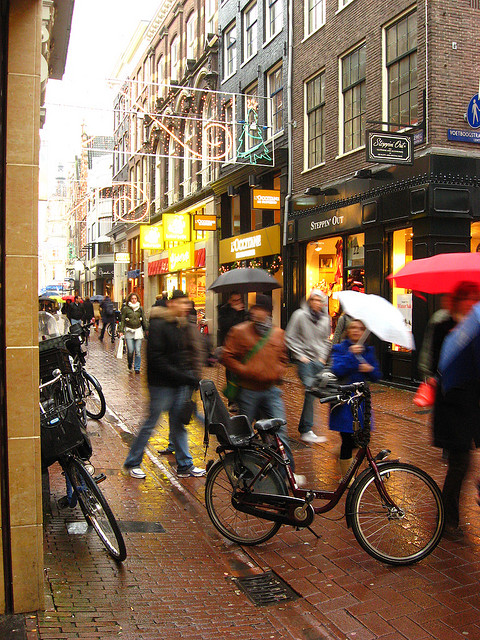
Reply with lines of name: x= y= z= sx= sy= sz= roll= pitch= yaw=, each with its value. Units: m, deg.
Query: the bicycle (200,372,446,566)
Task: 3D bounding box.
bicycle: x=0.586 y=1.000 z=4.266 sx=1.748 sy=1.218 sz=0.874 roll=-2 pitch=-3 yaw=22

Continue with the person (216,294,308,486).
person: x=0.154 y=0.587 z=4.852 sx=0.677 sy=1.515 sz=0.577 roll=-2 pitch=-5 yaw=-9

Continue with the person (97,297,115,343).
person: x=-5.493 y=-0.122 z=24.814 sx=0.753 sy=2.119 sz=0.641 roll=3 pitch=24 yaw=-4

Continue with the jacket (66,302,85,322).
jacket: x=-5.909 y=-0.308 z=21.957 sx=0.491 sy=0.847 sz=0.788 roll=1 pitch=2 yaw=36

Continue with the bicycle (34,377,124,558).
bicycle: x=-1.018 y=0.846 z=3.799 sx=0.461 sy=1.173 sz=1.735 roll=0 pitch=1 yaw=-18

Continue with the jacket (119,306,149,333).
jacket: x=-2.304 y=0.000 z=13.086 sx=0.789 sy=0.787 sz=0.286 roll=1 pitch=-5 yaw=-17

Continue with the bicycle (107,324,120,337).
bicycle: x=-5.374 y=0.434 z=25.153 sx=0.515 sy=0.524 sz=0.124 roll=-2 pitch=3 yaw=42

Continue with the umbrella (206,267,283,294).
umbrella: x=0.170 y=-0.728 z=11.462 sx=1.576 sy=0.565 sz=1.595 roll=0 pitch=-4 yaw=-2
